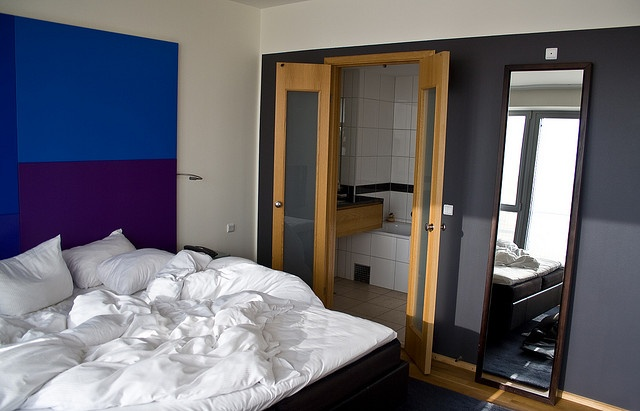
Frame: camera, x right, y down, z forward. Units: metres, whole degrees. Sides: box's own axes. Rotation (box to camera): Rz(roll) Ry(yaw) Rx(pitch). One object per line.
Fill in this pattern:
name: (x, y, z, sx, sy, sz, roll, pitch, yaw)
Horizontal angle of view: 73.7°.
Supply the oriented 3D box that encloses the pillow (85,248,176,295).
pillow: (-1.786, 0.617, 4.156, 0.493, 0.139, 0.471, 11, 20, 40)
